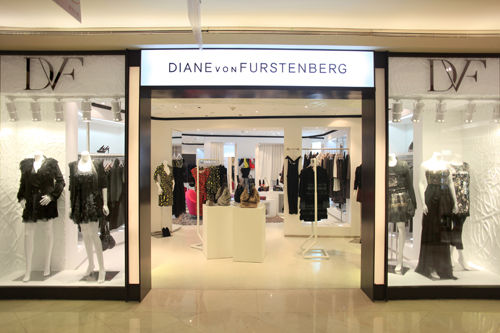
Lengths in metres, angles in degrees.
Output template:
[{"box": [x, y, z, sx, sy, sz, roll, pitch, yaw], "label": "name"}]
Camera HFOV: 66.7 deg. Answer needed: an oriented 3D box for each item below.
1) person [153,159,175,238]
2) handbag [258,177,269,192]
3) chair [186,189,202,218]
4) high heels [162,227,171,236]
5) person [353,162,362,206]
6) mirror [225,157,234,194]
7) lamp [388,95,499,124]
[{"box": [-2.070, 0.785, 9.213, 0.469, 1.851, 0.953, -1, 1, -13], "label": "person"}, {"box": [0.438, 0.605, 12.639, 0.358, 0.581, 0.355, 2, -10, -13], "label": "handbag"}, {"box": [-1.601, 1.081, 11.220, 0.666, 0.709, 0.621, 8, 10, 14], "label": "chair"}, {"box": [-2.093, 1.611, 9.418, 0.189, 0.260, 0.208, 4, -12, -40], "label": "high heels"}, {"box": [2.398, 0.376, 8.449, 0.134, 0.795, 0.428, 0, 1, 18], "label": "person"}, {"box": [-0.460, 0.195, 8.723, 0.259, 1.077, 0.256, -13, 43, -17], "label": "mirror"}, {"box": [3.178, -0.943, 6.237, 1.830, 0.427, 0.111, -1, 1, -1], "label": "lamp"}]
